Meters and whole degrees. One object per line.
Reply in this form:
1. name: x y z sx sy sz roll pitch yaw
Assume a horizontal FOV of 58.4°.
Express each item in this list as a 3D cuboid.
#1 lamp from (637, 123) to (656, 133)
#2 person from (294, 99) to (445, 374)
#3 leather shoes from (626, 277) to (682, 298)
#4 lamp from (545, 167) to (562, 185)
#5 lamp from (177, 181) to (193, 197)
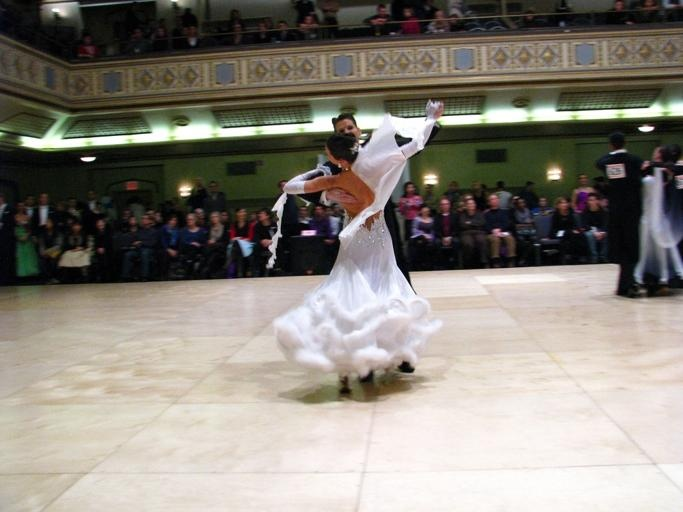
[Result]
1. lamp: 7.605 -3.202 15.301 0.371 0.089 0.328 1 -2 -30
2. person: 0.140 -0.029 4.354 1.023 1.936 0.976 -3 11 18
3. leather shoes: 3.710 0.391 7.393 0.781 0.201 0.207 -4 1 -1
4. lamp: 5.550 -2.109 16.187 0.720 0.436 0.404 0 -3 -1
5. lamp: -4.327 -1.814 16.773 0.612 0.362 0.158 3 5 1
